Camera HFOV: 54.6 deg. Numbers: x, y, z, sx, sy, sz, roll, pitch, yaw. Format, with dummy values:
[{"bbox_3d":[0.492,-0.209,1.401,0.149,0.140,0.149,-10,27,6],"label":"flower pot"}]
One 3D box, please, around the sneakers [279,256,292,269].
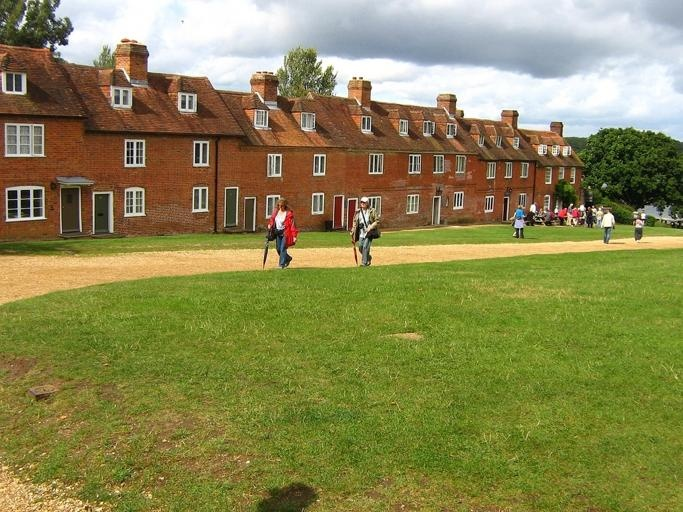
[{"bbox_3d":[-1.910,0.232,23.060,0.201,0.598,0.248,36,-33,-7],"label":"sneakers"}]
